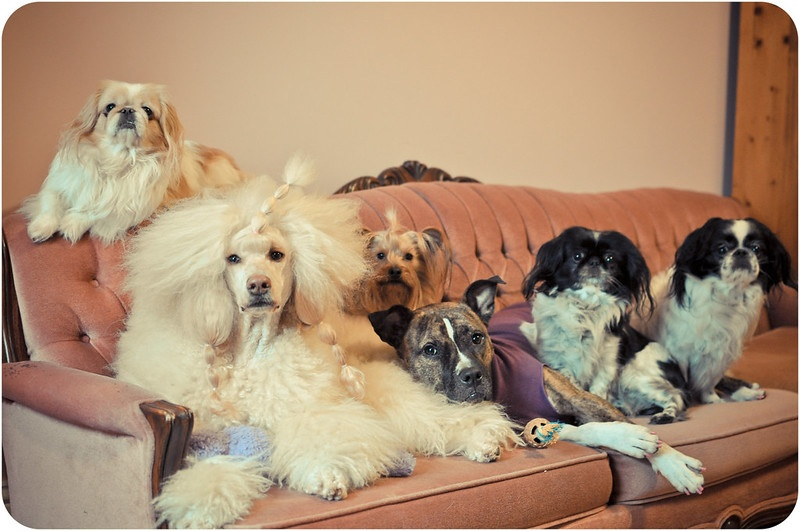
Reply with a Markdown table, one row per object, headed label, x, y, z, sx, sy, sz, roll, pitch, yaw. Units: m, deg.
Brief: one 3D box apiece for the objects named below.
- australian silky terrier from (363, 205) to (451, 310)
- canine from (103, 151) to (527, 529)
| label | x | y | z | sx | sy | sz | roll | pitch | yaw |
| --- | --- | --- | --- | --- | --- | --- | --- | --- | --- |
| australian silky terrier | 0.027 | -0.024 | 4.785 | 0.580 | 0.683 | 0.335 | 5 | -43 | -11 |
| canine | -0.580 | 0.325 | 4.153 | 2.064 | 1.463 | 1.584 | 10 | 7 | 19 |
